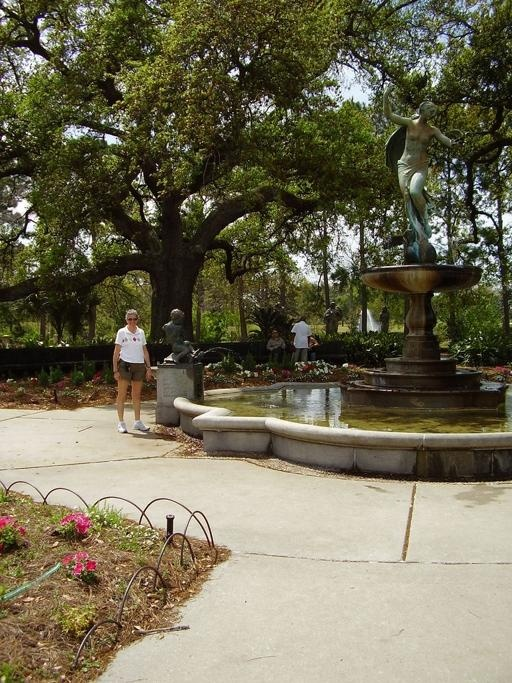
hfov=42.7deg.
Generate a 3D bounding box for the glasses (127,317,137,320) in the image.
[{"bbox_3d":[-1.593,-0.297,8.448,0.112,0.029,0.111,-2,4,-21],"label":"glasses"}]

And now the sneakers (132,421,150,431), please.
[{"bbox_3d":[-1.498,1.106,8.584,0.283,0.127,0.093,7,7,17],"label":"sneakers"}]

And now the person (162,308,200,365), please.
[{"bbox_3d":[-1.089,-0.080,9.364,0.473,0.740,0.710,-2,4,-7],"label":"person"}]

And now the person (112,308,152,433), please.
[{"bbox_3d":[-1.614,0.381,8.572,0.448,1.579,0.722,-2,4,-11],"label":"person"}]

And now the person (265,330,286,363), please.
[{"bbox_3d":[0.566,0.155,18.220,0.648,1.364,0.785,0,-43,1],"label":"person"}]

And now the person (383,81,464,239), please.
[{"bbox_3d":[2.495,-2.785,10.287,0.933,2.477,0.674,0,4,23],"label":"person"}]
